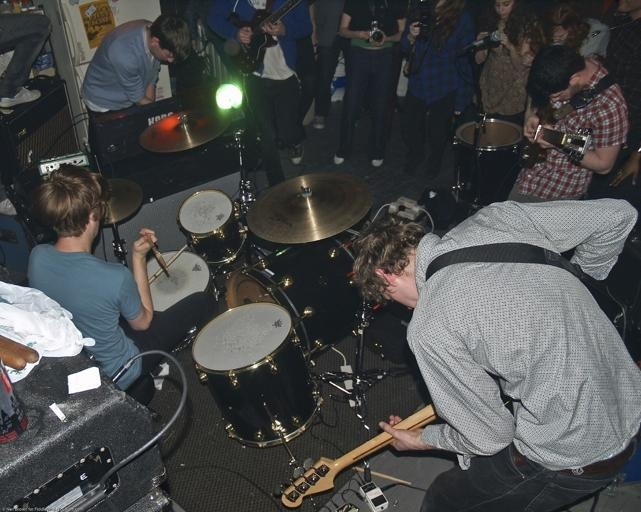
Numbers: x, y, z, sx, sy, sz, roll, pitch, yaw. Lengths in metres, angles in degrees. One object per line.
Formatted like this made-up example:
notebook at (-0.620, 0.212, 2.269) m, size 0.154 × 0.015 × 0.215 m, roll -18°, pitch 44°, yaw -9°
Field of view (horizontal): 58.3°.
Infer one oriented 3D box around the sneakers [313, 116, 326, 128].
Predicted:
sneakers at (-0.021, -1.500, 6.409) m, size 0.098 × 0.134 × 0.051 m, roll 5°, pitch 19°, yaw 8°

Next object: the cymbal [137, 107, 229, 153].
cymbal at (-1.122, -1.037, 4.720) m, size 0.471 × 0.101 × 0.482 m, roll 16°, pitch 47°, yaw 25°

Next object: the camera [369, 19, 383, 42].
camera at (0.510, -2.079, 5.270) m, size 0.142 × 0.150 × 0.153 m, roll -15°, pitch 38°, yaw -19°

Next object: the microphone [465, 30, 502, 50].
microphone at (1.386, -1.821, 4.815) m, size 0.208 × 0.064 × 0.161 m, roll -3°, pitch 41°, yaw 47°

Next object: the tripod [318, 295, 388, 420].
tripod at (0.223, 0.700, 3.916) m, size 0.439 × 0.603 × 0.524 m, roll -29°, pitch 78°, yaw -21°

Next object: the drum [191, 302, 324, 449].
drum at (-0.399, 0.750, 3.542) m, size 0.594 × 0.570 × 0.567 m, roll -35°, pitch 83°, yaw -10°

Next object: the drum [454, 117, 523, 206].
drum at (1.346, -0.885, 5.017) m, size 0.681 × 0.673 × 0.703 m, roll -2°, pitch 48°, yaw 10°

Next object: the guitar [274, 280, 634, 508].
guitar at (0.658, 0.768, 3.309) m, size 2.048 × 0.275 × 0.321 m, roll -31°, pitch 89°, yaw -3°

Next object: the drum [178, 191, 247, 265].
drum at (-0.777, -0.219, 4.543) m, size 0.522 × 0.489 × 0.546 m, roll -9°, pitch 59°, yaw 11°

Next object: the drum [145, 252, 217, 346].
drum at (-0.983, 0.233, 4.078) m, size 0.532 × 0.234 × 0.695 m, roll -26°, pitch 50°, yaw -5°

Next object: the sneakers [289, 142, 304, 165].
sneakers at (-0.251, -1.081, 6.052) m, size 0.136 × 0.194 × 0.202 m, roll 3°, pitch 50°, yaw 0°
